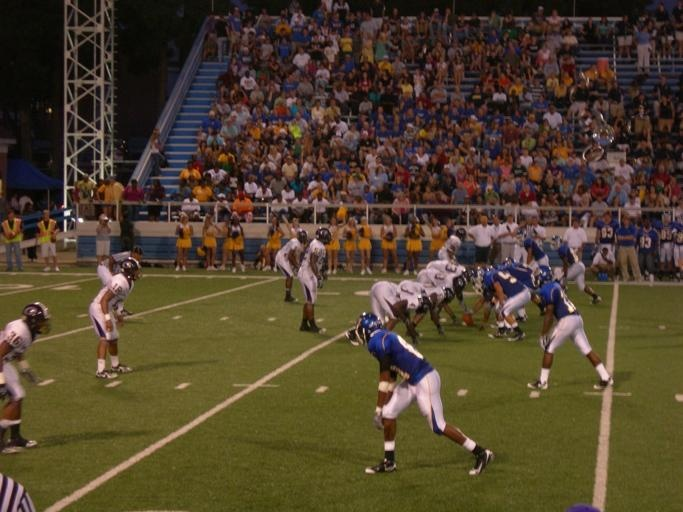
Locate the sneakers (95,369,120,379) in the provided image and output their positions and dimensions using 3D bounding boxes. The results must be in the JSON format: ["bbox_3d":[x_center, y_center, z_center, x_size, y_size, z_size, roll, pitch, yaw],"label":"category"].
[{"bbox_3d":[-4.117,2.081,16.343,0.373,0.169,0.243,-1,2,-5],"label":"sneakers"}]

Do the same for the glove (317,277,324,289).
[{"bbox_3d":[-0.457,0.550,19.693,0.109,0.220,0.385,0,2,-4],"label":"glove"}]

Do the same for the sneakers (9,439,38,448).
[{"bbox_3d":[-4.615,2.744,13.554,0.351,0.183,0.139,1,1,-4],"label":"sneakers"}]

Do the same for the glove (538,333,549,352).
[{"bbox_3d":[3.447,1.479,15.916,0.112,0.330,0.214,7,-8,29],"label":"glove"}]

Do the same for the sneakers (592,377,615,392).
[{"bbox_3d":[4.434,2.175,15.922,0.425,0.200,0.177,-21,38,24],"label":"sneakers"}]

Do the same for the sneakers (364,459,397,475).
[{"bbox_3d":[0.538,2.938,13.027,0.450,0.261,0.179,2,-2,9],"label":"sneakers"}]

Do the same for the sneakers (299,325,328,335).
[{"bbox_3d":[-0.598,1.578,19.753,0.599,0.321,0.205,-5,-3,11],"label":"sneakers"}]

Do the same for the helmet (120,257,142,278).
[{"bbox_3d":[-3.682,0.235,16.408,0.331,0.365,0.276,1,25,-47],"label":"helmet"}]

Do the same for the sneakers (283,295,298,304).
[{"bbox_3d":[-1.323,1.060,23.297,0.292,0.330,0.149,-3,12,-7],"label":"sneakers"}]

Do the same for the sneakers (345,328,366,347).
[{"bbox_3d":[0.157,1.133,13.333,0.158,0.215,0.457,1,24,-23],"label":"sneakers"}]

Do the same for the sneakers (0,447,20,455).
[{"bbox_3d":[-4.761,2.818,13.446,0.155,0.078,0.109,3,-10,-8],"label":"sneakers"}]

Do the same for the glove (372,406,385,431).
[{"bbox_3d":[0.496,2.306,13.141,0.091,0.310,0.208,5,14,15],"label":"glove"}]

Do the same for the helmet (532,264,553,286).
[{"bbox_3d":[4.086,0.382,18.978,0.342,0.491,0.439,8,-10,-6],"label":"helmet"}]

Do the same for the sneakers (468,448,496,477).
[{"bbox_3d":[1.941,2.908,13.015,0.225,0.348,0.110,36,-4,-21],"label":"sneakers"}]

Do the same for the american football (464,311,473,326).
[{"bbox_3d":[2.722,1.360,20.118,0.175,0.277,0.240,7,-12,4],"label":"american football"}]

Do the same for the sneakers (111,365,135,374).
[{"bbox_3d":[-3.900,2.026,16.545,0.308,0.168,0.143,0,7,0],"label":"sneakers"}]

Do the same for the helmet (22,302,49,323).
[{"bbox_3d":[-4.462,0.835,13.623,0.292,0.276,0.236,-2,5,-2],"label":"helmet"}]

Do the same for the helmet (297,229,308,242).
[{"bbox_3d":[-0.845,-0.434,20.702,0.204,0.319,0.281,-2,2,-23],"label":"helmet"}]

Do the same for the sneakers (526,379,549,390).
[{"bbox_3d":[3.287,2.202,15.752,0.354,0.213,0.141,3,4,22],"label":"sneakers"}]

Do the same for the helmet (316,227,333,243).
[{"bbox_3d":[-0.372,-0.385,19.358,0.333,0.395,0.287,10,21,30],"label":"helmet"}]
